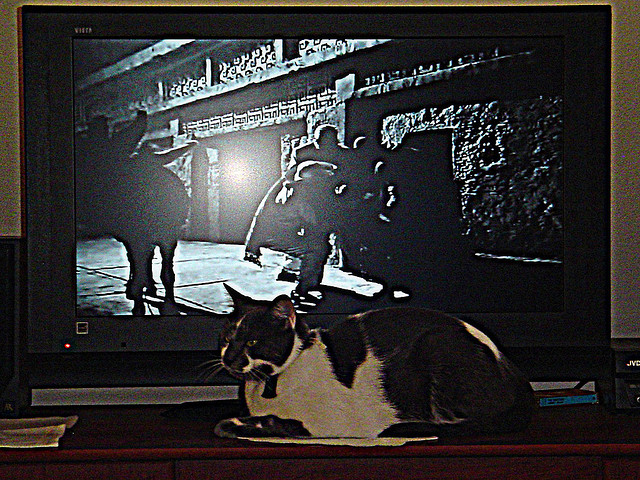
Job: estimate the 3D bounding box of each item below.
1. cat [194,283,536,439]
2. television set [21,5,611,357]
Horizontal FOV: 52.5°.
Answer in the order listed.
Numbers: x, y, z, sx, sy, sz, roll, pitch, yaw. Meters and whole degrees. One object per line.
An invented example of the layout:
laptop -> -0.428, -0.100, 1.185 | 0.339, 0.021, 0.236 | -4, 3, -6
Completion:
cat -> -0.045, 0.429, 2.091 | 1.351, 0.383, 0.355 | 0, -3, 2
television set -> -0.083, -0.205, 2.132 | 1.838, 0.695, 0.062 | 0, -2, 2
